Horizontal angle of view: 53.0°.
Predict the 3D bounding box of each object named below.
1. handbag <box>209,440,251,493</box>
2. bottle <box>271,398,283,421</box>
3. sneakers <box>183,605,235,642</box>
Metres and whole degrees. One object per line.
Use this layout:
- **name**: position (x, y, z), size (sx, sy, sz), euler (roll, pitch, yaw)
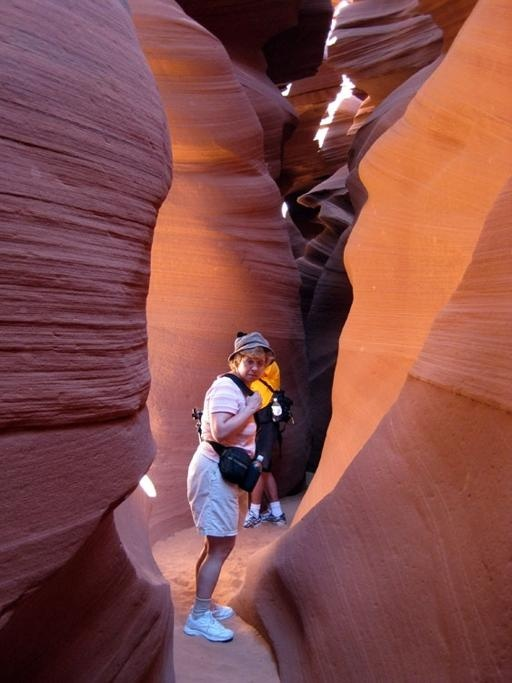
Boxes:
- **handbag**: position (-0.088, 0.535, 2.229), size (0.208, 0.074, 0.145), euler (36, 37, -24)
- **bottle**: position (0.142, 0.503, 3.803), size (0.047, 0.141, 0.104), euler (-4, 20, -16)
- **sneakers**: position (-0.221, 1.354, 2.395), size (0.212, 0.286, 0.091), euler (5, 81, -8)
